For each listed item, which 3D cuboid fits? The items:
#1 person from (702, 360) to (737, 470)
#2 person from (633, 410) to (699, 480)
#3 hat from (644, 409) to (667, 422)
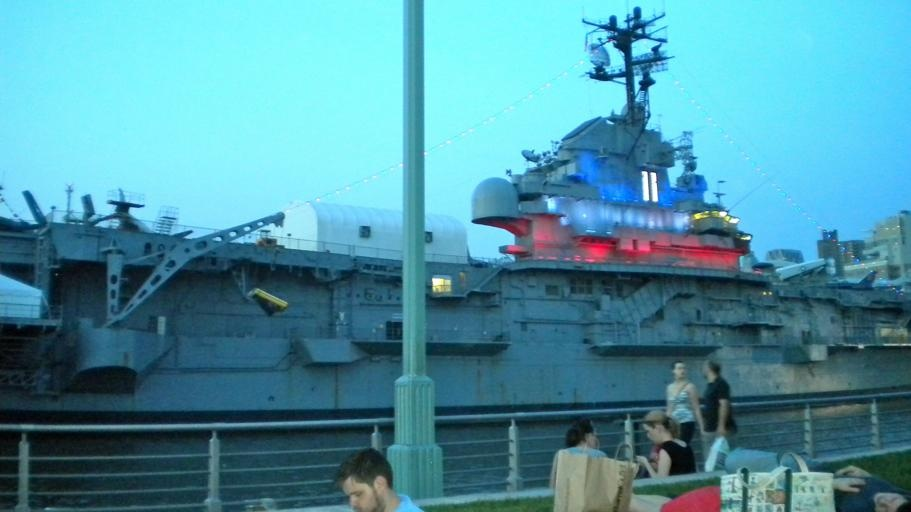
[{"bbox_3d":[8.439,5.189,36.381,0.982,3.572,1.113,-9,-14,26],"label":"person"},{"bbox_3d":[6.686,5.968,35.616,1.614,2.039,0.942,-5,-13,10],"label":"person"},{"bbox_3d":[6.324,5.070,35.455,0.530,0.268,0.382,-4,7,9],"label":"hat"}]
